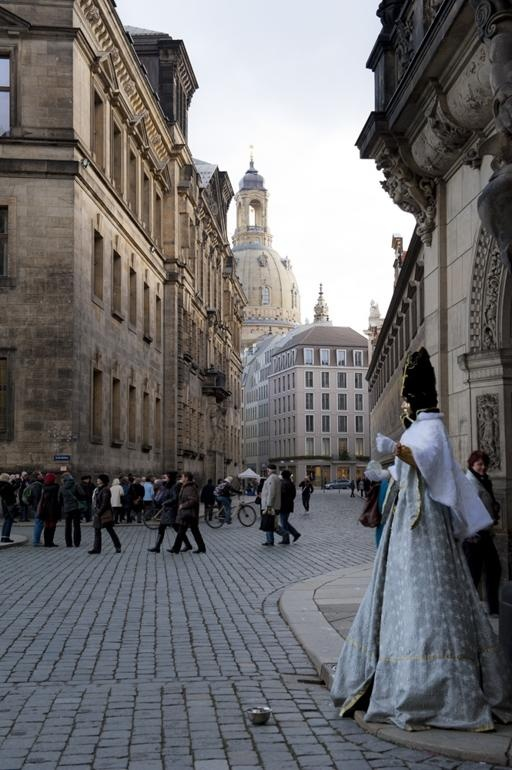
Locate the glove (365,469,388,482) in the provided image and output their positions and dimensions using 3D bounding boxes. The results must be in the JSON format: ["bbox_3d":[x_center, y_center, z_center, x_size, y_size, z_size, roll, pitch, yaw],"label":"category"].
[{"bbox_3d":[0.649,0.500,4.924,0.076,0.045,0.101,4,-7,-42],"label":"glove"}]

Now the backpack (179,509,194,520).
[{"bbox_3d":[-1.213,2.356,16.181,0.276,0.181,0.274,-7,-10,0],"label":"backpack"}]

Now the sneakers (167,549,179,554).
[{"bbox_3d":[-1.508,3.096,16.687,0.149,0.079,0.288,-2,-3,-19],"label":"sneakers"}]

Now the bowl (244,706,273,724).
[{"bbox_3d":[0.009,1.771,4.811,0.096,0.058,0.098,-4,-6,0],"label":"bowl"}]

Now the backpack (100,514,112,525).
[{"bbox_3d":[-2.733,2.465,16.596,0.149,0.115,0.219,-14,-1,1],"label":"backpack"}]

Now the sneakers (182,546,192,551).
[{"bbox_3d":[-1.317,3.182,17.394,0.183,0.081,0.467,-3,-3,-7],"label":"sneakers"}]

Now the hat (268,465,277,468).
[{"bbox_3d":[0.374,1.745,19.030,0.156,0.100,0.164,1,-1,29],"label":"hat"}]

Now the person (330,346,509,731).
[{"bbox_3d":[0.864,0.808,4.706,0.778,1.903,0.904,0,-4,-39],"label":"person"}]

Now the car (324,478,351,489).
[{"bbox_3d":[8.748,10.492,93.577,2.645,1.354,1.770,3,-4,-1],"label":"car"}]
